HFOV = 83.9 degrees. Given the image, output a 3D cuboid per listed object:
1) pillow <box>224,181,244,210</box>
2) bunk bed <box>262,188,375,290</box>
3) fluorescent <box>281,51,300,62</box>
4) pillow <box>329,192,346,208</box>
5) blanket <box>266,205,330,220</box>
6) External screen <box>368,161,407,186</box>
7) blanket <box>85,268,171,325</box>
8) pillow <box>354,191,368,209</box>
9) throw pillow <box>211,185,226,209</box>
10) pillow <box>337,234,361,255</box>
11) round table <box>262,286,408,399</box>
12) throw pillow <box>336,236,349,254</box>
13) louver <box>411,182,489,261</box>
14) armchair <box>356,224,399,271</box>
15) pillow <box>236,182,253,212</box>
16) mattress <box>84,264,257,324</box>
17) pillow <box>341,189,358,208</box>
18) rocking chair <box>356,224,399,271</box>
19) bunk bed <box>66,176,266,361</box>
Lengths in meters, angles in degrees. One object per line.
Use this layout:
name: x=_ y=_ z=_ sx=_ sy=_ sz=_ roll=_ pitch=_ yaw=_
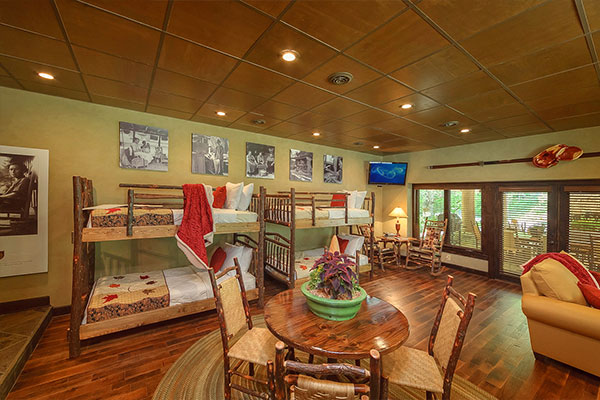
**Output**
pillow: x=-1.269 y=-0.062 z=6.361 sx=0.213 sy=0.388 sz=0.512 roll=-13 pitch=2 yaw=-32
bunk bed: x=0.358 y=0.805 z=7.771 sx=2.560 sy=1.695 sz=1.523 roll=-1 pitch=-2 yaw=-37
fluorescent: x=-0.142 y=-1.967 z=4.551 sx=0.228 sy=0.079 sz=0.193 roll=0 pitch=1 yaw=25
pillow: x=0.885 y=-0.010 z=8.018 sx=0.332 sy=0.311 sz=0.134 roll=-5 pitch=-27 yaw=45
blanket: x=0.139 y=0.280 z=6.957 sx=1.145 sy=0.239 sz=0.345 roll=0 pitch=1 yaw=-43
External screen: x=2.431 y=-0.734 z=9.291 sx=1.065 sy=0.645 sz=0.283 roll=0 pitch=1 yaw=9
blanket: x=-2.887 y=1.615 z=5.667 sx=1.238 sy=0.482 sz=1.063 roll=0 pitch=1 yaw=-21
pillow: x=1.430 y=-0.006 z=7.991 sx=0.394 sy=0.358 sz=0.140 roll=7 pitch=3 yaw=-43
throw pillow: x=-1.526 y=-0.054 z=6.273 sx=0.365 sy=0.329 sz=0.138 roll=-12 pitch=-16 yaw=9
pillow: x=1.128 y=1.007 z=7.698 sx=0.473 sy=0.438 sz=0.203 roll=5 pitch=-34 yaw=23
round table: x=0.472 y=1.636 z=4.159 sx=1.199 sy=0.681 sz=1.126 roll=1 pitch=8 yaw=0
throw pillow: x=0.965 y=1.048 z=7.710 sx=0.304 sy=0.269 sz=0.094 roll=8 pitch=-18 yaw=41
louver: x=3.861 y=0.569 z=8.445 sx=0.180 sy=2.146 sz=2.201 roll=4 pitch=-4 yaw=-37
armchair: x=2.026 y=1.210 z=8.725 sx=0.892 sy=1.091 sz=0.741 roll=-1 pitch=1 yaw=43
pillow: x=-1.009 y=0.009 z=6.454 sx=0.430 sy=0.332 sz=0.154 roll=5 pitch=7 yaw=17
mattress: x=-2.459 y=1.537 z=5.516 sx=1.793 sy=0.223 sz=1.035 roll=2 pitch=-1 yaw=-31
pillow: x=1.151 y=-0.011 z=7.779 sx=0.499 sy=0.533 sz=0.217 roll=1 pitch=-4 yaw=-26
rocking chair: x=2.046 y=1.210 z=8.713 sx=0.805 sy=1.104 sz=0.942 roll=-1 pitch=-1 yaw=-31
bunk bed: x=-2.753 y=1.020 z=6.329 sx=2.023 sy=2.358 sz=3.365 roll=-8 pitch=-7 yaw=44
